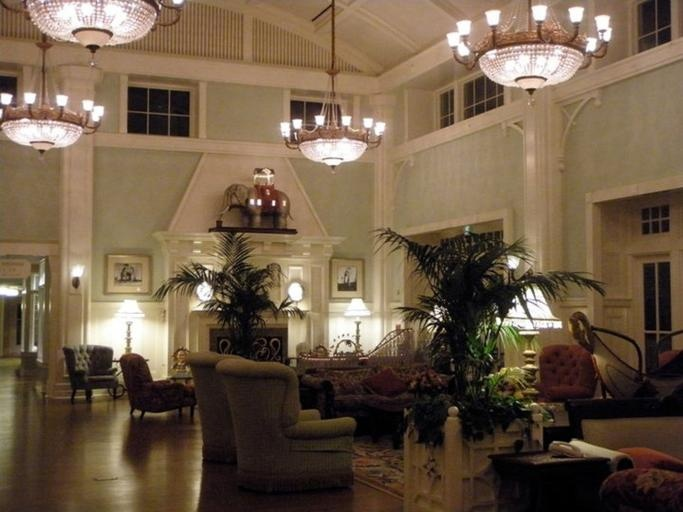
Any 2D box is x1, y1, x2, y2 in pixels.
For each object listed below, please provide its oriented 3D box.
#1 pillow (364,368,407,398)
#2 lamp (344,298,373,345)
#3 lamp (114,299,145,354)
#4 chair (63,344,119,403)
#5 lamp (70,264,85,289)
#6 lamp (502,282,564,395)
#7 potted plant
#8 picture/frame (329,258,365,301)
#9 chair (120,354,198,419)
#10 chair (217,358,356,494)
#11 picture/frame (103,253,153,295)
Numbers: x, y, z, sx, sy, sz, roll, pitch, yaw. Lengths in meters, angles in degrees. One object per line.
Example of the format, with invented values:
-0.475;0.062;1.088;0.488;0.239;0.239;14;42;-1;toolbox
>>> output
0.633;1.747;8.798;0.358;0.104;0.365;-9;27;-31;pillow
0.350;1.451;14.017;0.606;1.088;1.132;-1;-5;1;lamp
-4.286;1.382;12.882;0.537;1.071;0.685;1;-5;-20;lamp
-4.876;2.233;12.320;0.835;1.046;0.941;-9;-11;34;chair
-5.235;0.406;12.656;0.243;0.497;0.187;2;-6;-27;lamp
1.916;0.881;6.500;0.666;1.047;0.666;13;-16;-37;lamp
0.877;0.807;6.198;2.475;2.802;2.157;2;-8;-13;potted plant
0.070;0.524;14.446;0.861;1.072;0.035;3;-7;-24;picture/frame
-3.028;2.054;10.609;1.236;1.198;0.995;2;-3;-23;chair
-0.637;1.656;6.574;1.273;1.239;1.092;4;-7;-30;chair
-4.466;0.357;13.173;0.771;0.769;0.074;1;-5;-26;picture/frame
